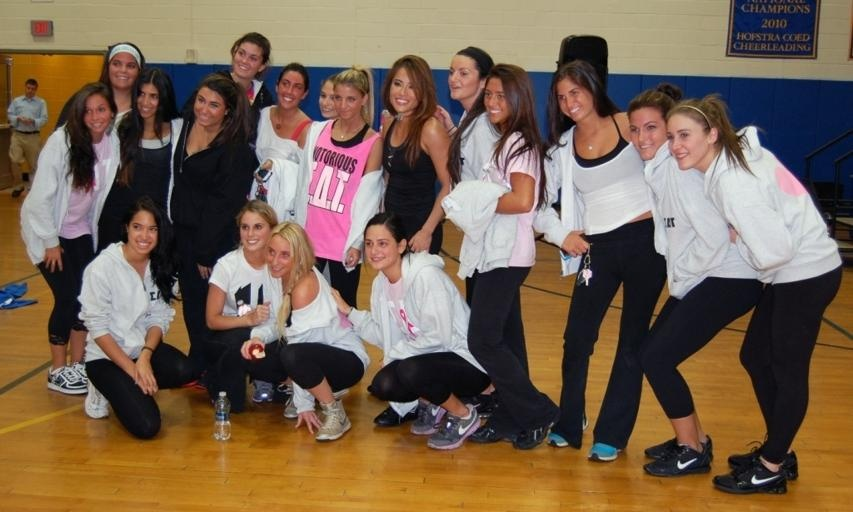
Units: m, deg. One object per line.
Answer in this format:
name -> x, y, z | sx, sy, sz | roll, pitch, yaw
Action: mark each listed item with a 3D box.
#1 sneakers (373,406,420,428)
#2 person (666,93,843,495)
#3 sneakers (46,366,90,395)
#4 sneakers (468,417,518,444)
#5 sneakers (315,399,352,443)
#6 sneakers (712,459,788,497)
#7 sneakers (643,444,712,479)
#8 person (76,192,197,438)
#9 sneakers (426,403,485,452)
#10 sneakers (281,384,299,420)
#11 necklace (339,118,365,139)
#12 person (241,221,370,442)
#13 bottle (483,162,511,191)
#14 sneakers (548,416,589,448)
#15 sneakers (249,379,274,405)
sneakers -> -0.260, 1.273, 5.418 | 0.378, 0.152, 0.139 | -1, 6, -26
person -> 2.172, 0.280, 4.627 | 1.045, 2.609, 0.587 | 11, 17, 29
sneakers -> -2.989, 1.038, 5.735 | 0.422, 0.201, 0.218 | 3, 3, 5
sneakers -> 0.492, 1.318, 5.182 | 0.414, 0.180, 0.162 | 1, 1, -7
sneakers -> -0.731, 1.255, 5.178 | 0.156, 0.258, 0.411 | -13, 0, 20
sneakers -> 2.231, 1.528, 4.757 | 0.506, 0.225, 0.203 | 0, 10, 4
sneakers -> 1.786, 1.441, 4.845 | 0.498, 0.215, 0.192 | -4, 8, -2
person -> -2.241, 0.439, 5.259 | 0.762, 1.663, 0.728 | 15, 19, 39
sneakers -> 0.211, 1.306, 5.154 | 0.471, 0.211, 0.194 | -20, 12, -36
sneakers -> -1.105, 1.185, 5.460 | 0.123, 0.222, 0.348 | 1, 4, -1
necklace -> -0.640, -1.066, 5.606 | 0.151, 0.102, 0.197 | 1, 22, 0
person -> -0.985, 0.573, 5.459 | 1.039, 1.581, 0.967 | -4, 4, -43
bottle -> 0.489, -0.576, 4.848 | 0.242, 0.203, 0.088 | 14, 18, 37
sneakers -> 1.060, 1.331, 5.157 | 0.141, 0.168, 0.394 | -4, -1, 27
sneakers -> -1.354, 1.112, 5.581 | 0.169, 0.212, 0.070 | 3, 11, -2
